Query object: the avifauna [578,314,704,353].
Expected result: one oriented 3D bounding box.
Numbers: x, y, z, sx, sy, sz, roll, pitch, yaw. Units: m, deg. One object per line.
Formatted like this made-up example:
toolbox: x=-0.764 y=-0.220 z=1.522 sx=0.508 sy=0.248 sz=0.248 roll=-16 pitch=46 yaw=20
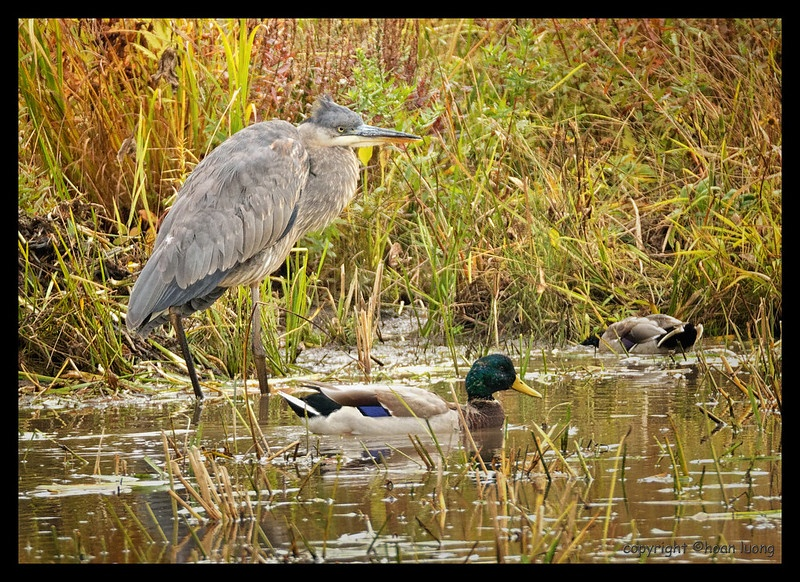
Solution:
avifauna: x=2.282 y=0.442 z=9.476 sx=1.070 sy=0.425 sz=0.389 roll=-10 pitch=-10 yaw=34
